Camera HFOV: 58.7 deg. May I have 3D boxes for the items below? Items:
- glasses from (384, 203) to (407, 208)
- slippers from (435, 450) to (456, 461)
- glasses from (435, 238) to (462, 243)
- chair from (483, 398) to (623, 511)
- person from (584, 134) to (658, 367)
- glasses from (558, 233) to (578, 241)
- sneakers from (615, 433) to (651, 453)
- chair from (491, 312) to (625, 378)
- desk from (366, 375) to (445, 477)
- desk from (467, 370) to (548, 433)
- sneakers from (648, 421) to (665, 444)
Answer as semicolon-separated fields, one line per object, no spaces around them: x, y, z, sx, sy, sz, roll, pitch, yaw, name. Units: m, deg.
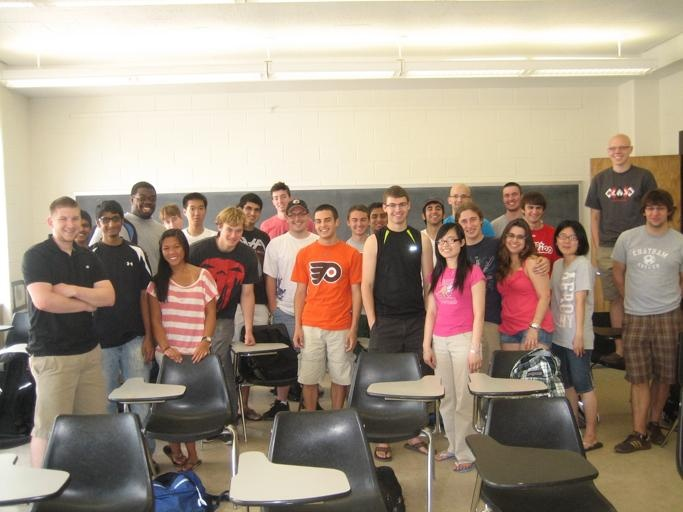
0.424;-0.392;4.777;0.168;0.047;0.073;-4;4;5;glasses
0.805;1.557;4.747;0.160;0.041;0.063;2;0;-11;slippers
0.804;-0.110;4.574;0.173;0.035;0.043;-3;5;9;glasses
1.163;1.150;3.737;0.674;0.930;0.737;0;-11;0;chair
2.650;-0.048;5.803;0.637;2.173;0.761;-4;3;-42;person
1.805;-0.155;4.866;0.141;0.074;0.037;-2;5;22;glasses
2.321;1.503;4.922;0.351;0.141;0.126;-2;-4;-17;sneakers
1.681;0.701;4.823;0.608;0.719;0.638;2;-5;-11;chair
0.425;1.122;4.117;0.555;0.757;0.600;0;-2;8;desk
1.061;1.032;4.149;0.521;0.333;0.532;0;2;-3;desk
2.597;1.468;5.019;0.092;0.085;0.209;-1;2;3;sneakers
